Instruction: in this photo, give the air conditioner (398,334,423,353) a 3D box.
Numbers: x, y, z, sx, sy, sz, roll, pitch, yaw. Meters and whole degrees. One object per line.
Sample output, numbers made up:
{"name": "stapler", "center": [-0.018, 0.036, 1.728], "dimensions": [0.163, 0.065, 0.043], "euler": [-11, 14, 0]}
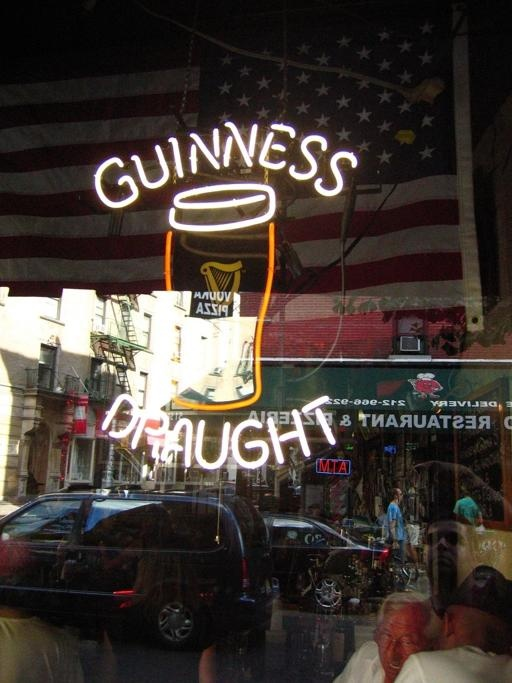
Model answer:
{"name": "air conditioner", "center": [0.683, 0.012, 2.858], "dimensions": [0.098, 0.068, 0.141], "euler": [-2, -13, 12]}
